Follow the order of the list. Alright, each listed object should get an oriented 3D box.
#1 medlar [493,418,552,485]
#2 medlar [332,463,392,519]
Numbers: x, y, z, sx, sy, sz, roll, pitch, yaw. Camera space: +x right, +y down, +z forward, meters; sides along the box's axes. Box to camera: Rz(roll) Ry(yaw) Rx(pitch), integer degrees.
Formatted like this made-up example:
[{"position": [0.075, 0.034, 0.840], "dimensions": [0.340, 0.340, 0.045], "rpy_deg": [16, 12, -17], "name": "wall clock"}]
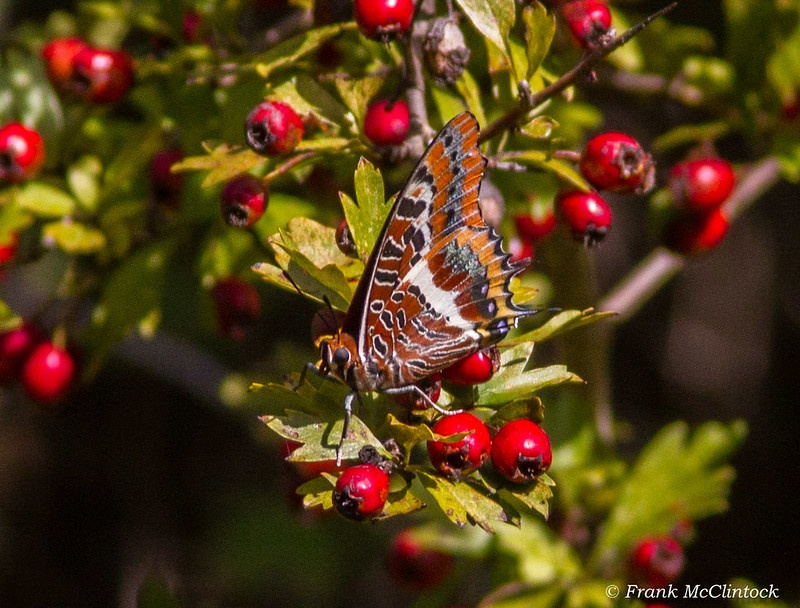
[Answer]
[{"position": [0.283, 0.336, 2.442], "dimensions": [0.120, 0.164, 0.125], "rpy_deg": [-10, 22, -18], "name": "medlar"}, {"position": [-0.083, 0.436, 2.422], "dimensions": [0.096, 0.122, 0.108], "rpy_deg": [37, 112, 27], "name": "medlar"}]
